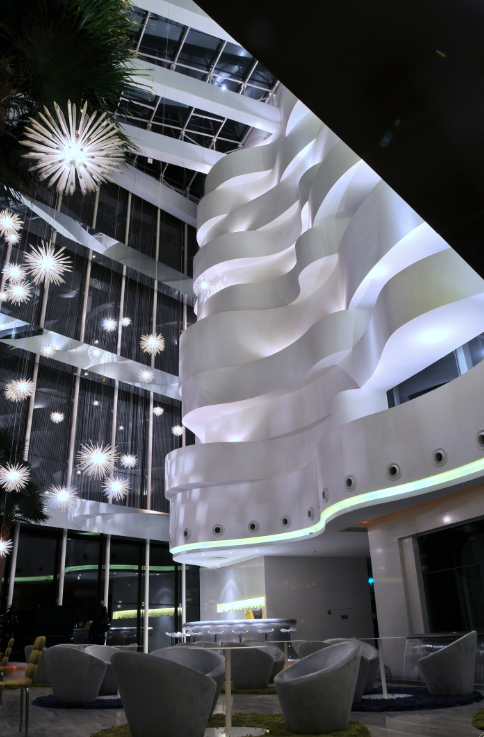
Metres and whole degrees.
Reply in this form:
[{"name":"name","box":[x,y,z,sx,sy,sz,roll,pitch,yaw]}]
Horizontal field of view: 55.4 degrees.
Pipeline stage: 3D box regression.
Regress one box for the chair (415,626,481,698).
[{"name":"chair","box":[2.789,3.926,6.265,0.773,0.814,0.758,-2,-23,2]}]
